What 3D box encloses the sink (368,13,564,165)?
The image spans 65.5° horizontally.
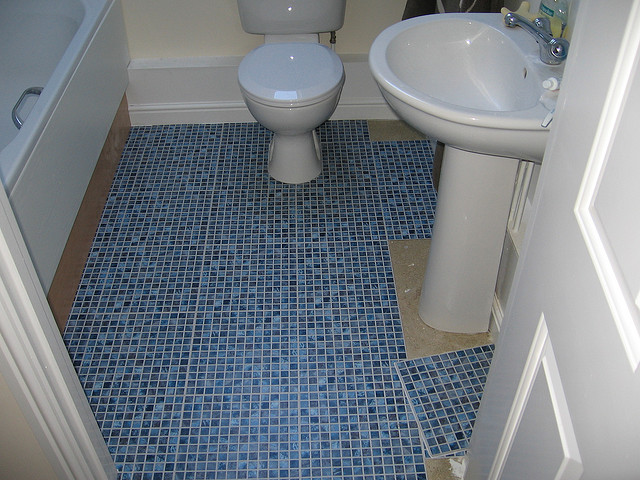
[{"bbox_3d":[0.347,-0.355,1.396,0.436,0.232,0.660,-8,49,5],"label":"sink"}]

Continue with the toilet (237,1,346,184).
[{"bbox_3d":[-0.126,-0.637,2.228,0.459,0.602,0.592,1,54,2],"label":"toilet"}]

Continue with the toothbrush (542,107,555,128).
[{"bbox_3d":[0.488,-0.259,1.071,0.015,0.013,0.059,42,67,-17],"label":"toothbrush"}]
